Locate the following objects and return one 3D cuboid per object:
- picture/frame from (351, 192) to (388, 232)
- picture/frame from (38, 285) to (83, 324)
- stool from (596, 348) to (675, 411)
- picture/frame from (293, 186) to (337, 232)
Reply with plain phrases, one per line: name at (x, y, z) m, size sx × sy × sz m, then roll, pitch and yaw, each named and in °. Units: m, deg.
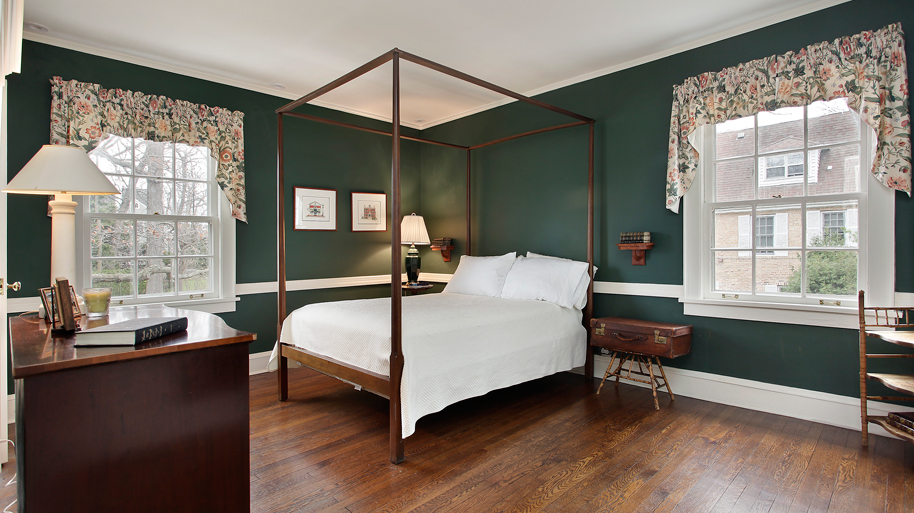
picture/frame at (-1.297, -0.651, 8.120) m, size 0.633 × 0.587 × 0.043 m, roll 2°, pitch 2°, yaw -38°
picture/frame at (-3.297, 0.382, 4.657) m, size 0.121 × 0.271 × 0.290 m, roll 9°, pitch 11°, yaw 17°
stool at (2.113, 1.337, 6.637) m, size 0.702 × 0.494 × 0.504 m, roll 3°, pitch 0°, yaw 39°
picture/frame at (-1.964, -0.658, 7.630) m, size 0.643 × 0.588 × 0.062 m, roll 7°, pitch 1°, yaw -40°
